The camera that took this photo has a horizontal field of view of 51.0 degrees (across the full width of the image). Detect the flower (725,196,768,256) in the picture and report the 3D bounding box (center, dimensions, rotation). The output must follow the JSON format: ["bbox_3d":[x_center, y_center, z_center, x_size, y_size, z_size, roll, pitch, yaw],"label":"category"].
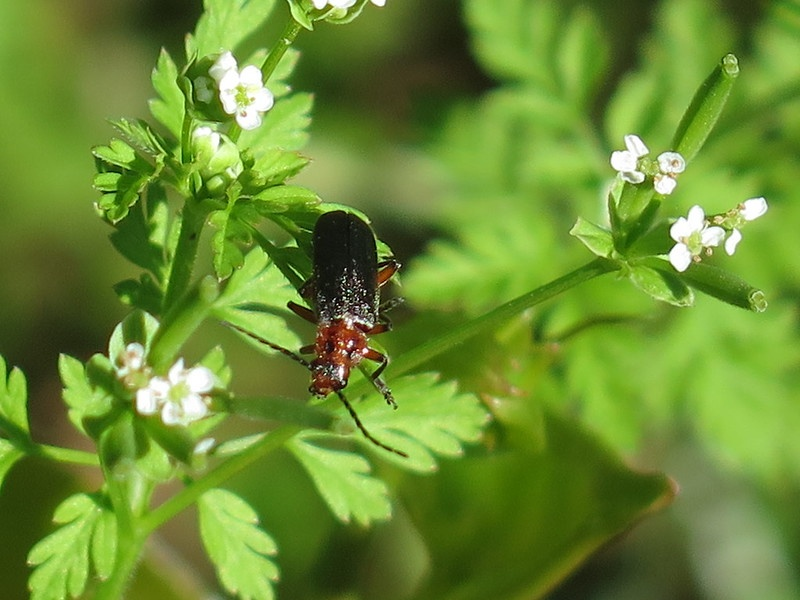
[{"bbox_3d":[1.619,-0.333,3.910,0.131,0.341,0.074,25,-2,-13],"label":"flower"}]

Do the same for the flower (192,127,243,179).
[{"bbox_3d":[-0.703,-0.550,3.162,0.147,0.114,0.212,12,-60,-17],"label":"flower"}]

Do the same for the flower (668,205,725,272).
[{"bbox_3d":[1.138,-0.245,3.214,0.220,0.263,0.091,10,-11,-14],"label":"flower"}]

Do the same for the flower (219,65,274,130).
[{"bbox_3d":[-0.592,-0.778,3.170,0.201,0.211,0.114,4,-23,-25],"label":"flower"}]
